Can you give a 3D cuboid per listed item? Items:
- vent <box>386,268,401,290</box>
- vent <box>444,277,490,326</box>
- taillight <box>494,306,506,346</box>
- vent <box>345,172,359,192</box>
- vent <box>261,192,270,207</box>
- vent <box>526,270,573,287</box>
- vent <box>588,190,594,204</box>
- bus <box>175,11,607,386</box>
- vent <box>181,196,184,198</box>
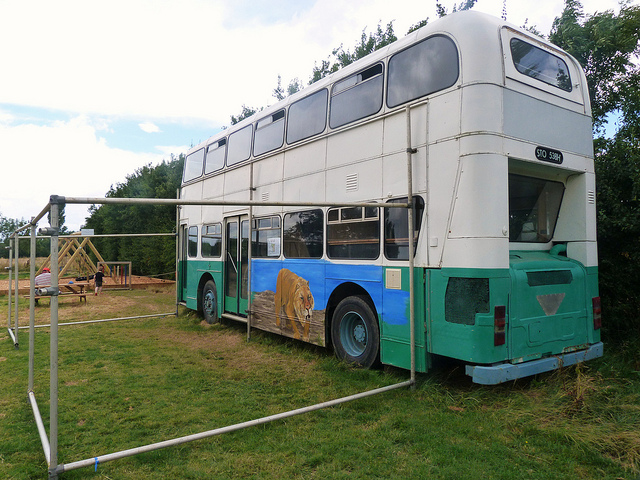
[{"bbox_3d":[1.226,0.660,7.878,0.042,0.375,0.297,5,-8,-34],"label":"vent"},{"bbox_3d":[2.155,0.876,7.248,0.508,1.032,0.909,7,-6,-39],"label":"vent"},{"bbox_3d":[2.632,1.251,6.926,0.206,0.580,0.039,-6,10,-13],"label":"taillight"},{"bbox_3d":[0.587,-1.059,8.659,0.041,0.395,0.342,0,0,-39],"label":"vent"},{"bbox_3d":[-1.263,-0.915,10.775,0.260,0.298,0.156,-4,-8,43],"label":"vent"},{"bbox_3d":[3.700,0.613,7.578,1.157,0.288,0.073,-6,6,-31],"label":"vent"},{"bbox_3d":[4.709,-0.740,8.211,0.205,0.254,0.024,-1,-1,-41],"label":"vent"},{"bbox_3d":[0.164,-0.428,11.783,3.702,6.081,10.875,1,-3,-40],"label":"bus"},{"bbox_3d":[-4.388,-1.368,14.984,0.057,0.052,0.063,1,-3,-1],"label":"vent"}]
